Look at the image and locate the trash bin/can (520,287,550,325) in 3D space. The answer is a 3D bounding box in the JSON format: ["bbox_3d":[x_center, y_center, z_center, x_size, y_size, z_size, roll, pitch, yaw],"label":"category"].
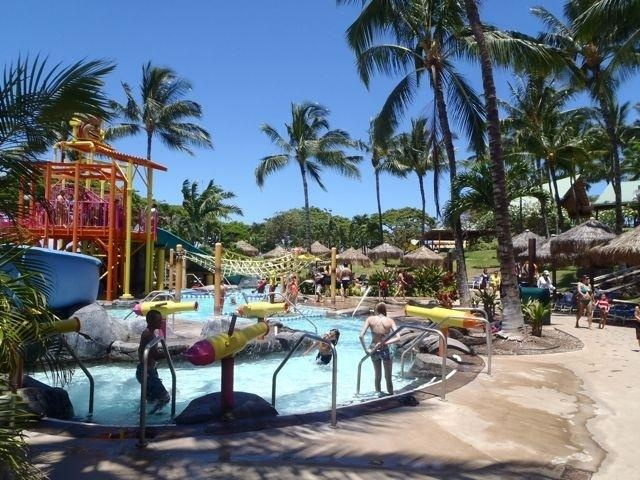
[{"bbox_3d":[6.655,2.067,15.407,0.925,1.278,0.792,-6,-30,30],"label":"trash bin/can"}]

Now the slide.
[{"bbox_3d":[-6.825,1.279,29.187,4.258,3.156,14.517,1,0,-8],"label":"slide"}]

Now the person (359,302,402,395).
[{"bbox_3d":[1.094,2.016,8.994,0.707,1.758,0.569,-2,7,-8],"label":"person"}]
